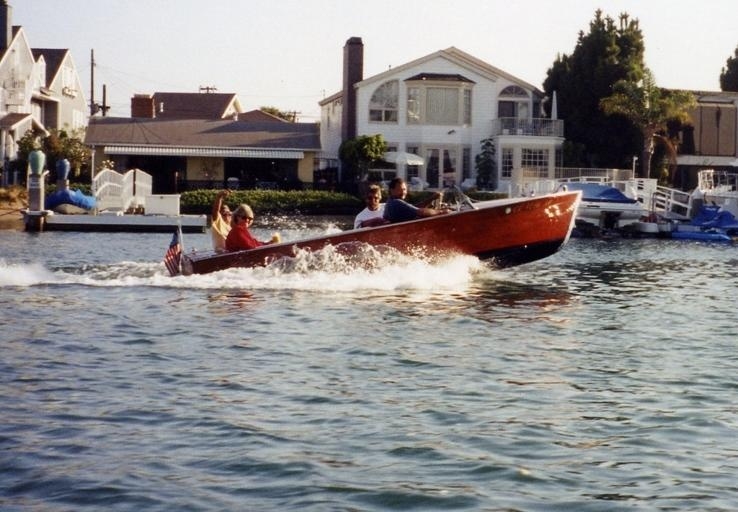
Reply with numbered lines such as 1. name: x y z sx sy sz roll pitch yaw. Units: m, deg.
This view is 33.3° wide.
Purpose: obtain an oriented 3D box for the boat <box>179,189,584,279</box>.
1. boat: 0.197 -0.524 29.644 8.857 1.728 1.751 -10 8 -1

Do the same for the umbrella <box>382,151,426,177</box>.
1. umbrella: 1.335 -4.106 52.717 1.355 0.778 1.229 2 -1 1
